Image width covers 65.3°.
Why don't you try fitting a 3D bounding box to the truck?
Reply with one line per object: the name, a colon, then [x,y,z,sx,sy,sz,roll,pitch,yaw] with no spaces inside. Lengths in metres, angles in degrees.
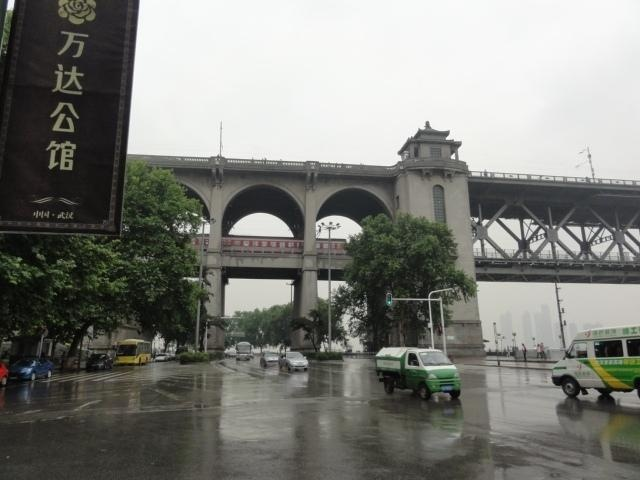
truck: [4.246,5.814,21.340,1.924,2.218,4.797,2,-6,-22]
